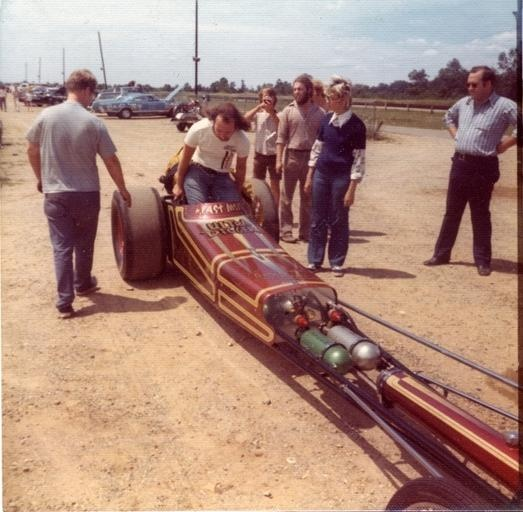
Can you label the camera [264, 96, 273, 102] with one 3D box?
[{"bbox_3d":[0.081,-1.747,5.777,0.104,0.023,0.100,12,12,-44],"label":"camera"}]
